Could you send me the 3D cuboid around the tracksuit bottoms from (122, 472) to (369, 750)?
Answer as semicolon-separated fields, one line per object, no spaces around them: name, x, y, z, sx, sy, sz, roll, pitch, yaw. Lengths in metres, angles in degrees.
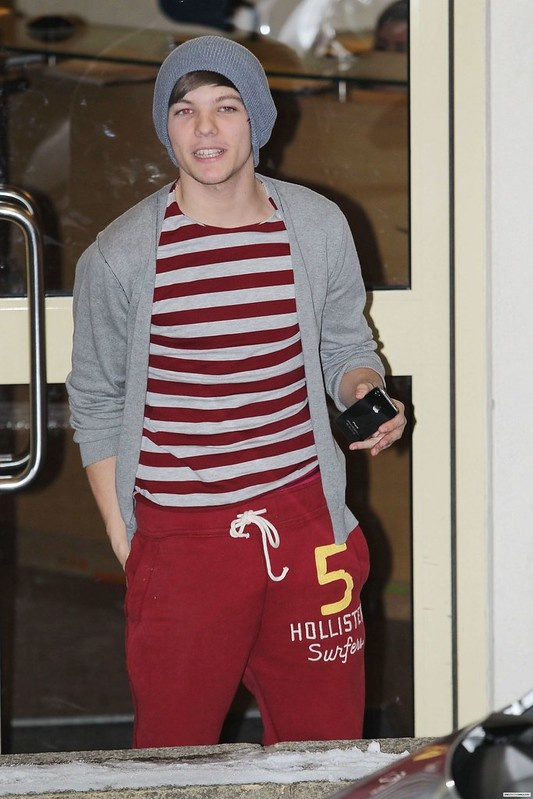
tracksuit bottoms;-0.018;0.369;1.305;0.377;0.509;0.183;-3;20;-6

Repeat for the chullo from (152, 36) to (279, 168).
chullo;-0.046;-0.403;1.209;0.159;0.176;0.199;-8;-14;16
